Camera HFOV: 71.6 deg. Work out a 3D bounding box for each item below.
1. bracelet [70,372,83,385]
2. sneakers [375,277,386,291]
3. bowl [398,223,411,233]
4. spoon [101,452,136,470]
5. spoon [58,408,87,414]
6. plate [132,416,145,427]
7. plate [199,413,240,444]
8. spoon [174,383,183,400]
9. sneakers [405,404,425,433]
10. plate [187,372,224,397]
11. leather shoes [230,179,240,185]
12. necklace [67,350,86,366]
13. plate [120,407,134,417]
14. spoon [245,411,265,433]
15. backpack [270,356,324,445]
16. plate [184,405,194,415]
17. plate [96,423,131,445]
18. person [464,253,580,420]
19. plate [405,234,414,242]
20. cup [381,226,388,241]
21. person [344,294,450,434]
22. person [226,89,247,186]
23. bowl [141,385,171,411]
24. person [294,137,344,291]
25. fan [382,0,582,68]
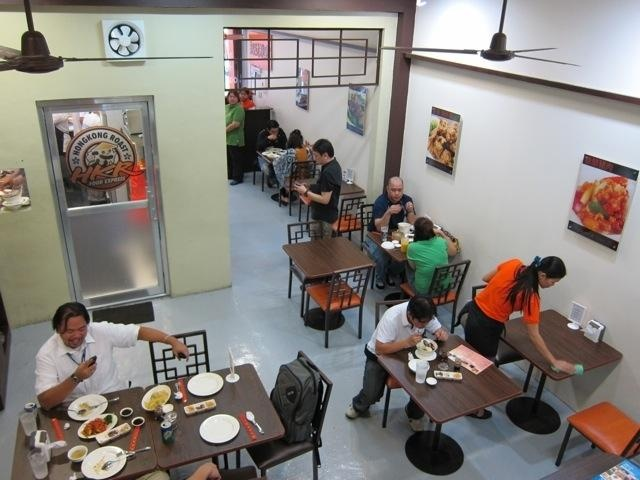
[{"bbox_3d":[-1.811,1.020,3.279,0.088,0.081,0.057,36,44,2],"label":"bracelet"},{"bbox_3d":[0.852,0.621,6.332,0.106,0.118,0.185,-2,21,-7],"label":"sneakers"},{"bbox_3d":[1.099,-0.168,5.830,0.103,0.120,0.163,-2,28,-8],"label":"bowl"},{"bbox_3d":[-1.411,1.515,3.068,0.076,0.041,0.130,33,35,30],"label":"spoon"},{"bbox_3d":[-1.834,1.282,3.334,0.137,0.025,0.057,0,23,0],"label":"spoon"},{"bbox_3d":[-1.370,1.352,3.316,0.093,0.044,0.095,-12,25,-25],"label":"plate"},{"bbox_3d":[-0.759,1.418,3.322,0.294,0.063,0.230,-4,23,-8],"label":"plate"},{"bbox_3d":[-1.156,1.213,3.573,0.043,0.036,0.147,-6,24,-14],"label":"spoon"},{"bbox_3d":[0.937,1.750,4.392,0.137,0.325,0.126,-12,-5,5],"label":"sneakers"},{"bbox_3d":[-0.953,1.191,3.664,0.294,0.065,0.230,-5,23,-10],"label":"plate"},{"bbox_3d":[-1.841,-1.247,9.520,0.089,0.100,0.245,10,10,20],"label":"leather shoes"},{"bbox_3d":[-1.932,0.929,3.512,0.105,0.035,0.144,-28,-7,-11],"label":"necklace"},{"bbox_3d":[-1.486,1.309,3.379,0.098,0.047,0.079,1,23,4],"label":"plate"},{"bbox_3d":[-0.509,1.386,3.390,0.062,0.047,0.270,-21,31,-15],"label":"spoon"},{"bbox_3d":[-0.218,1.311,3.698,0.309,0.600,0.451,1,13,-28],"label":"backpack"},{"bbox_3d":[-1.024,1.321,3.449,0.077,0.026,0.089,-8,24,-17],"label":"plate"},{"bbox_3d":[-1.505,1.399,3.217,0.172,0.037,0.094,-20,39,-37],"label":"plate"},{"bbox_3d":[1.900,0.724,4.240,0.963,1.307,0.323,19,30,39],"label":"person"},{"bbox_3d":[1.176,-0.028,5.843,0.095,0.106,0.105,4,35,-1],"label":"plate"},{"bbox_3d":[0.873,-0.103,6.056,0.089,0.156,0.198,2,23,6],"label":"cup"},{"bbox_3d":[0.746,1.167,4.300,0.875,1.501,0.772,7,19,9],"label":"person"},{"bbox_3d":[-1.781,-2.111,9.258,0.455,1.858,0.710,-5,23,-9],"label":"person"},{"bbox_3d":[-1.297,1.241,3.504,0.194,0.061,0.254,7,24,18],"label":"bowl"},{"bbox_3d":[-0.025,-0.701,6.515,0.668,1.578,1.597,0,23,1],"label":"person"},{"bbox_3d":[1.798,-2.283,4.851,1.415,0.579,1.431,0,26,-16],"label":"fan"}]
